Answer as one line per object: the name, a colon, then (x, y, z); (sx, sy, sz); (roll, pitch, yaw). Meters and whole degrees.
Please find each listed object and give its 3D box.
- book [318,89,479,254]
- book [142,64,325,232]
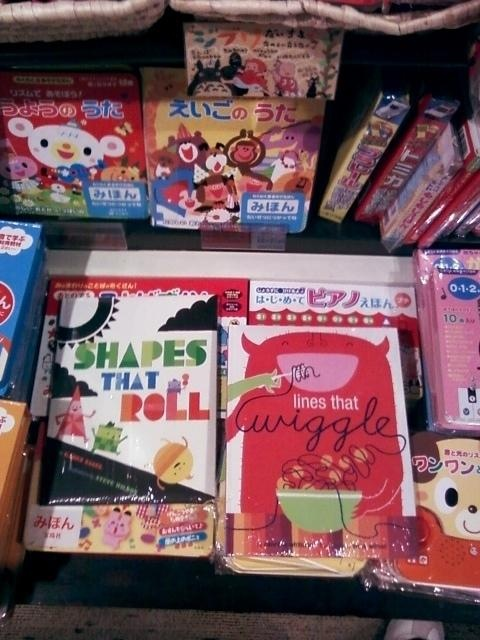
book: (0.267, -0.194, 0.850); (0.166, 0.303, 0.248); (11, 75, -3)
book: (-0.024, -0.355, 0.960); (0.240, 0.233, 0.060); (-2, 53, -1)
